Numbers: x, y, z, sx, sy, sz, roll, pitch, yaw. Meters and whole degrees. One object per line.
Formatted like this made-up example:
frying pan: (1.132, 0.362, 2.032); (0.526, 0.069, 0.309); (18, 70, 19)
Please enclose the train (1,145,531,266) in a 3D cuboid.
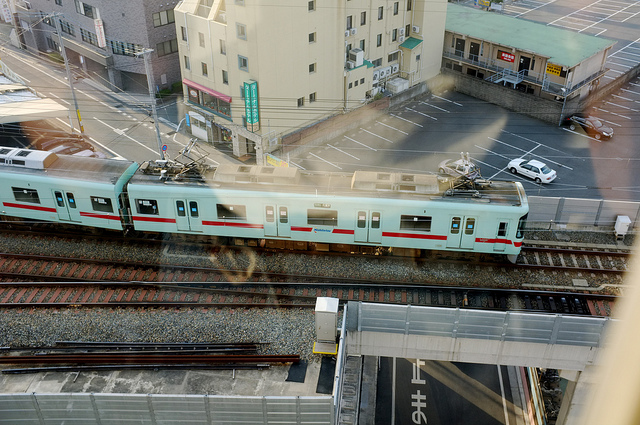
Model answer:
train: (-4.209, -0.670, 27.893); (30.485, 4.548, 3.263); (3, 26, 5)
